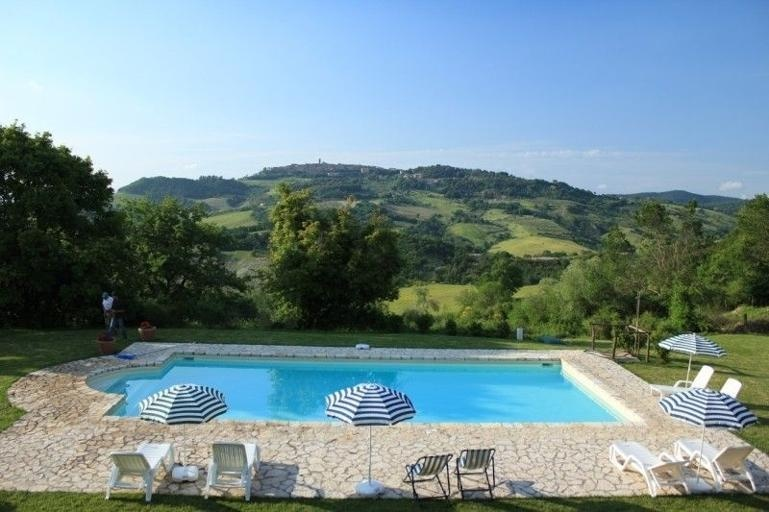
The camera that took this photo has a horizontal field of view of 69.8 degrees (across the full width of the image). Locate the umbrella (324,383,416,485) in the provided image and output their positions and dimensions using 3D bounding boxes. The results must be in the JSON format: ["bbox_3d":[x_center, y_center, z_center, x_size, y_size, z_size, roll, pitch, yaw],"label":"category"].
[{"bbox_3d":[-0.440,5.468,17.500,2.806,3.112,2.909,0,-1,19],"label":"umbrella"}]

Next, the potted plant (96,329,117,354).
[{"bbox_3d":[-12.534,4.012,24.928,0.679,0.833,0.784,-1,10,-18],"label":"potted plant"}]

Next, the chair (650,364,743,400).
[{"bbox_3d":[12.100,5.209,21.067,2.765,1.229,1.741,0,-5,-13],"label":"chair"}]

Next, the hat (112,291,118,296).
[{"bbox_3d":[-14.296,2.048,29.238,0.084,0.238,0.179,20,28,38],"label":"hat"}]

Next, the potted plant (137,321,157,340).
[{"bbox_3d":[-11.890,3.788,27.740,0.923,0.877,0.981,0,6,1],"label":"potted plant"}]

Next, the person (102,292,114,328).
[{"bbox_3d":[-13.590,2.621,27.244,0.435,1.857,1.401,-3,11,-28],"label":"person"}]
